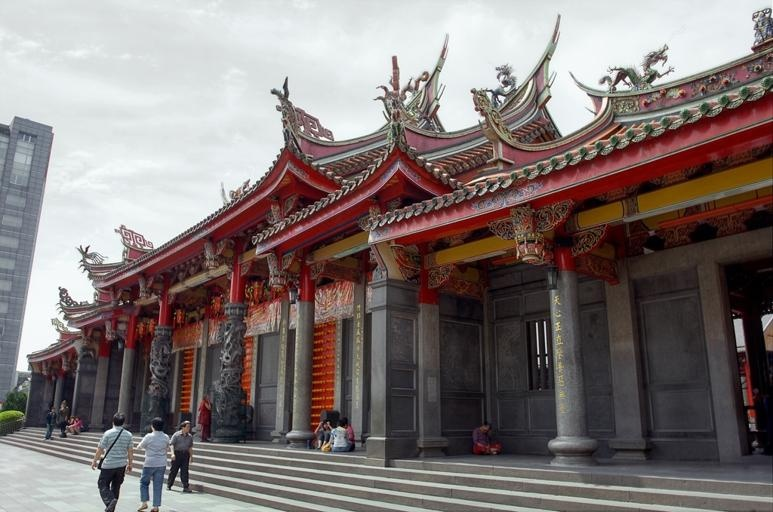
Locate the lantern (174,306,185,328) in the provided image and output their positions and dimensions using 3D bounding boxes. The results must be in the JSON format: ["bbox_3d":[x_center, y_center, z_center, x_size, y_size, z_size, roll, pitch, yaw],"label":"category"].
[{"bbox_3d":[-8.182,2.421,22.348,0.631,0.741,0.269,-14,-25,34],"label":"lantern"}]

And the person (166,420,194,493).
[{"bbox_3d":[-4.190,4.089,11.655,0.522,1.413,1.696,7,-21,-17],"label":"person"}]

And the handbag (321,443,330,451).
[{"bbox_3d":[-1.326,4.223,12.504,0.175,0.222,0.082,5,18,22],"label":"handbag"}]

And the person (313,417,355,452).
[{"bbox_3d":[-1.167,4.006,12.739,0.727,0.731,1.044,8,-22,-22],"label":"person"}]

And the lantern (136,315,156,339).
[{"bbox_3d":[-9.777,2.856,22.916,0.737,0.673,0.734,14,-24,-33],"label":"lantern"}]

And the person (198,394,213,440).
[{"bbox_3d":[-4.958,4.407,15.543,0.300,1.224,0.536,12,-24,-29],"label":"person"}]
